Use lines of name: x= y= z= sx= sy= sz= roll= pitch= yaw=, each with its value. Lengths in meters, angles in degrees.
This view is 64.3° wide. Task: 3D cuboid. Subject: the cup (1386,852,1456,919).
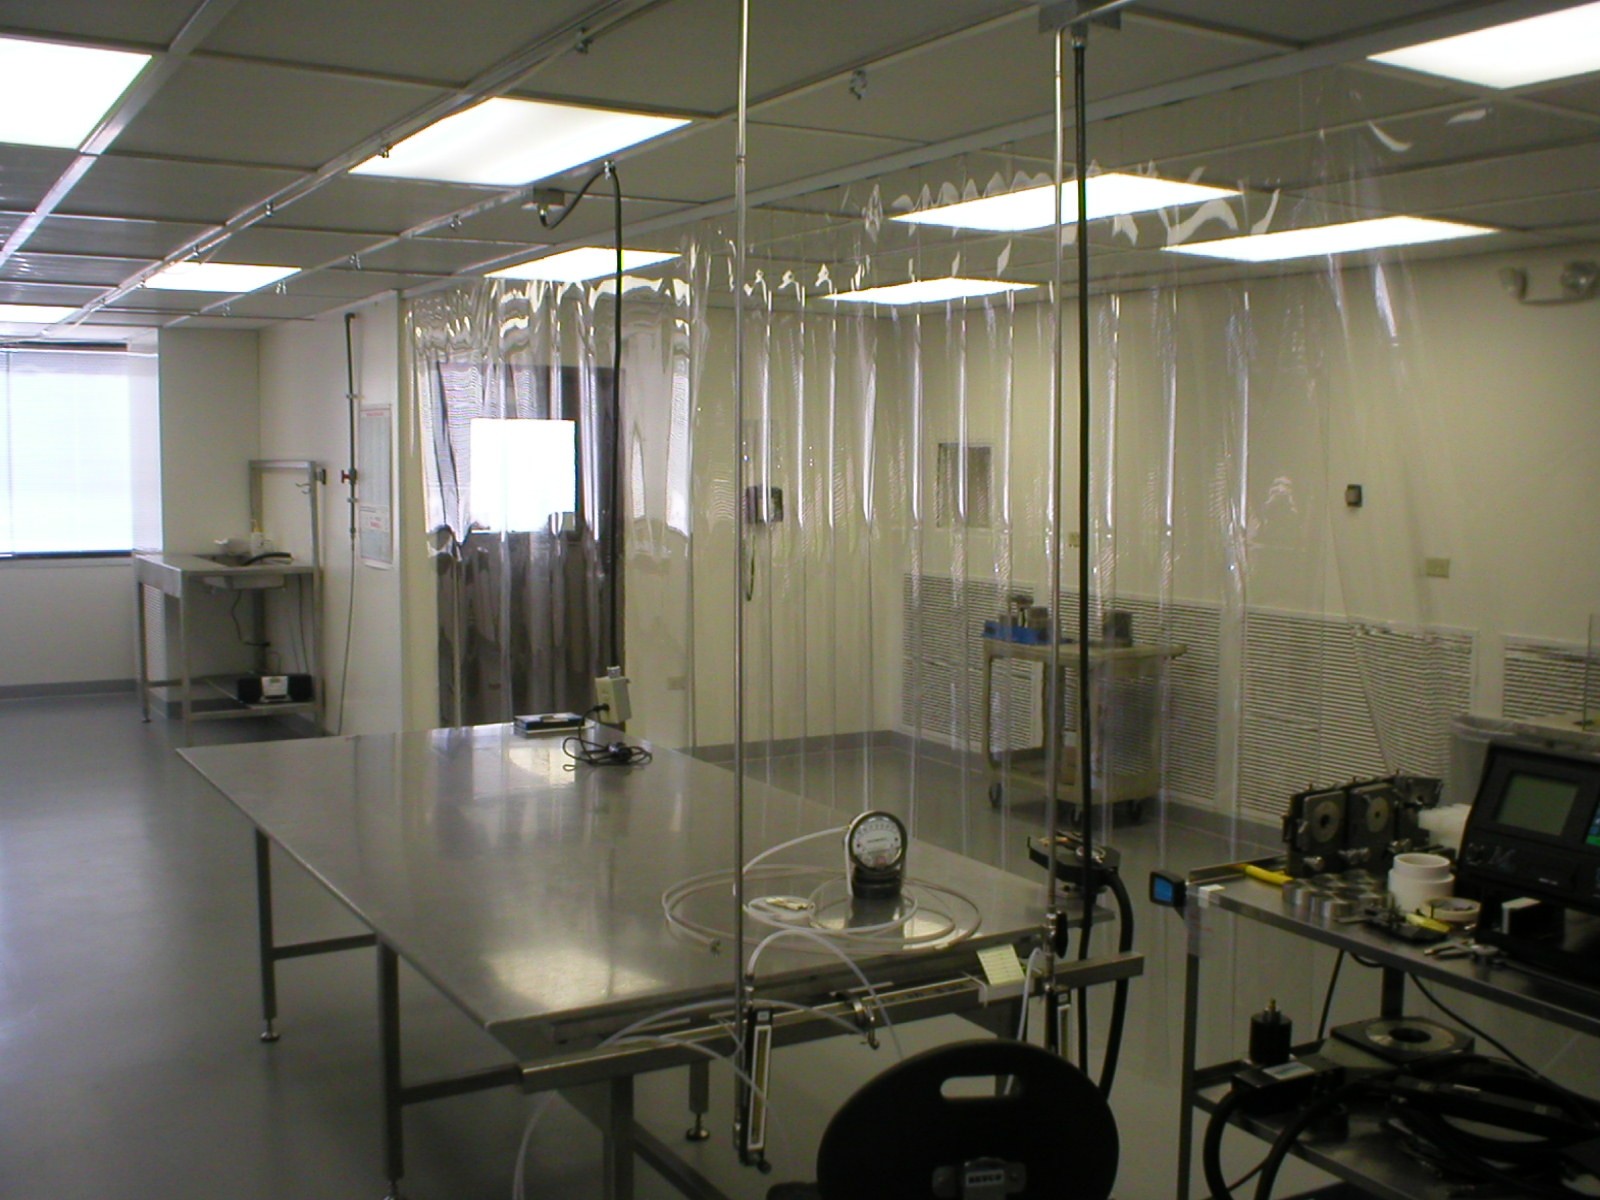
cup: x=1.264 y=0.568 z=2.591 sx=0.108 sy=0.117 sz=0.115 roll=-1 pitch=4 yaw=0

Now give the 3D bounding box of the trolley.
trolley: x=0.882 y=0.424 z=4.093 sx=0.365 sy=0.552 sz=0.533 roll=0 pitch=3 yaw=-28

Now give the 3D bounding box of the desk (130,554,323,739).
desk: x=-3.925 y=0.296 z=8.627 sx=0.883 sy=1.082 sz=1.593 roll=-2 pitch=5 yaw=-34
